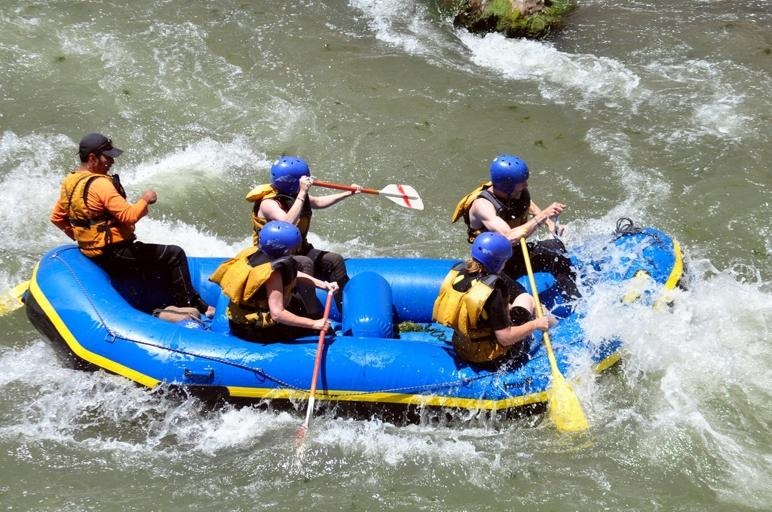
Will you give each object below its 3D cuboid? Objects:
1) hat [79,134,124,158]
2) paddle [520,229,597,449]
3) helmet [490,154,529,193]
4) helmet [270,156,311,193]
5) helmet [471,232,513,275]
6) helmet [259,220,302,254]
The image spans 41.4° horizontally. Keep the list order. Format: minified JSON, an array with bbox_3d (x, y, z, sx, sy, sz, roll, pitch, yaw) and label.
[{"bbox_3d":[-3.772,-1.450,13.556,0.506,0.239,0.308,-6,11,-18],"label":"hat"},{"bbox_3d":[2.078,1.194,13.216,0.465,0.120,2.849,-17,66,5],"label":"paddle"},{"bbox_3d":[1.666,-1.132,13.800,0.579,0.408,0.440,12,40,22],"label":"helmet"},{"bbox_3d":[-1.306,-1.152,13.975,0.439,0.536,0.408,17,33,-15],"label":"helmet"},{"bbox_3d":[1.272,-0.021,12.948,0.631,0.442,0.466,5,13,-43],"label":"helmet"},{"bbox_3d":[-1.384,-0.250,13.136,0.611,0.415,0.429,6,27,-5],"label":"helmet"}]
